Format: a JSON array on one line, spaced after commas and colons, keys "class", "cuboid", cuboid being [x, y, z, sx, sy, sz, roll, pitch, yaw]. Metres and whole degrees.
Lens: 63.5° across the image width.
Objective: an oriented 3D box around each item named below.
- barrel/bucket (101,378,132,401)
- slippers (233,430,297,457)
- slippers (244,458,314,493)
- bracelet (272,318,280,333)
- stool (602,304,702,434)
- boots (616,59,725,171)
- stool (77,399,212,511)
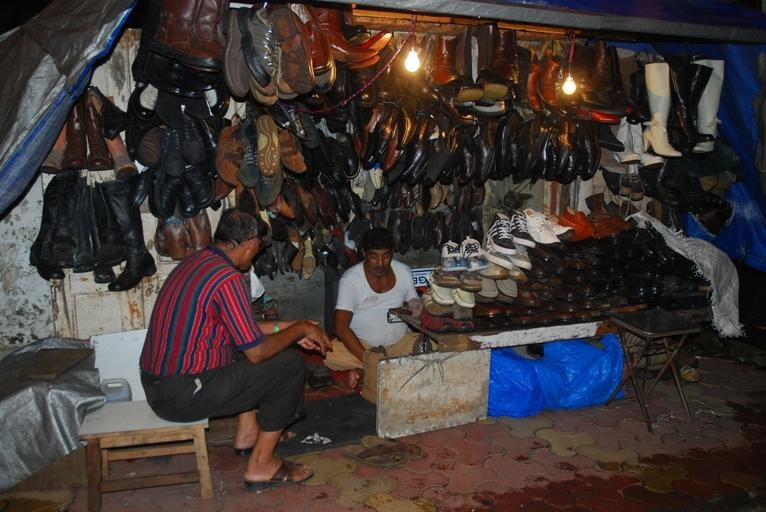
[{"class": "barrel/bucket", "cuboid": [-2.275, 1.123, 5.249, 0.157, 0.237, 0.135, 5, 20, -12]}, {"class": "slippers", "cuboid": [-0.970, 1.568, 5.270, 0.537, 0.190, 0.174, -9, 12, -30]}, {"class": "slippers", "cuboid": [-0.819, 1.680, 4.864, 0.512, 0.162, 0.204, -2, 2, -17]}, {"class": "bracelet", "cuboid": [-0.917, 0.601, 5.307, 0.038, 0.100, 0.082, 2, 5, 7]}, {"class": "stool", "cuboid": [2.465, 1.045, 5.743, 0.769, 1.020, 0.811, -12, 24, -11]}, {"class": "boots", "cuboid": [2.892, -1.518, 6.673, 0.426, 1.042, 0.478, -3, 5, -27]}, {"class": "stool", "cuboid": [-1.813, 1.405, 4.761, 0.873, 0.560, 0.836, -1, 4, -17]}]
